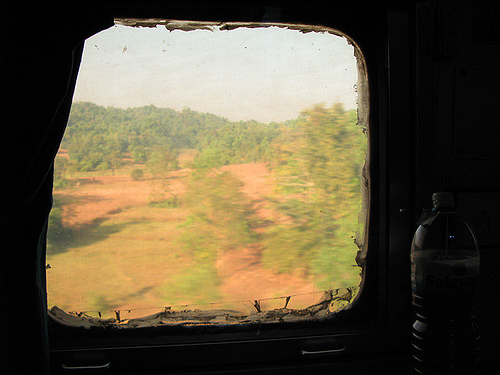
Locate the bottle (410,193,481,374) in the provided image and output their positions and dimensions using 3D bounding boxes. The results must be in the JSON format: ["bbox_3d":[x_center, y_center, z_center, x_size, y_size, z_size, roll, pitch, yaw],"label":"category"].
[{"bbox_3d":[0.657,0.322,2.498,0.258,0.623,0.188,-4,6,14],"label":"bottle"}]
